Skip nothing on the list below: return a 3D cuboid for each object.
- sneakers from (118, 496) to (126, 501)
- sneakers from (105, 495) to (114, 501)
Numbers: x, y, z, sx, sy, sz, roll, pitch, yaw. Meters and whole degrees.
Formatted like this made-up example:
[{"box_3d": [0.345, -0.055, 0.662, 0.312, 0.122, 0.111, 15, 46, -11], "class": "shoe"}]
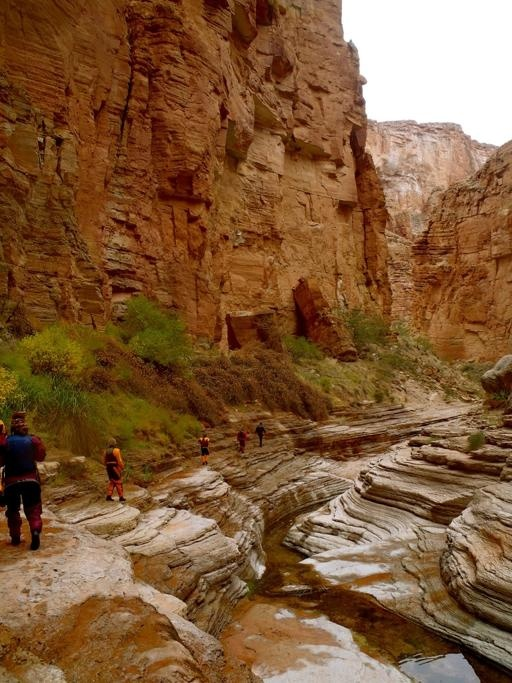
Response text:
[{"box_3d": [-2.136, 2.492, 8.515, 0.095, 0.089, 0.158, -9, 0, -17], "class": "sneakers"}, {"box_3d": [-2.317, 2.471, 8.503, 0.067, 0.108, 0.162, 4, 5, 24], "class": "sneakers"}]
